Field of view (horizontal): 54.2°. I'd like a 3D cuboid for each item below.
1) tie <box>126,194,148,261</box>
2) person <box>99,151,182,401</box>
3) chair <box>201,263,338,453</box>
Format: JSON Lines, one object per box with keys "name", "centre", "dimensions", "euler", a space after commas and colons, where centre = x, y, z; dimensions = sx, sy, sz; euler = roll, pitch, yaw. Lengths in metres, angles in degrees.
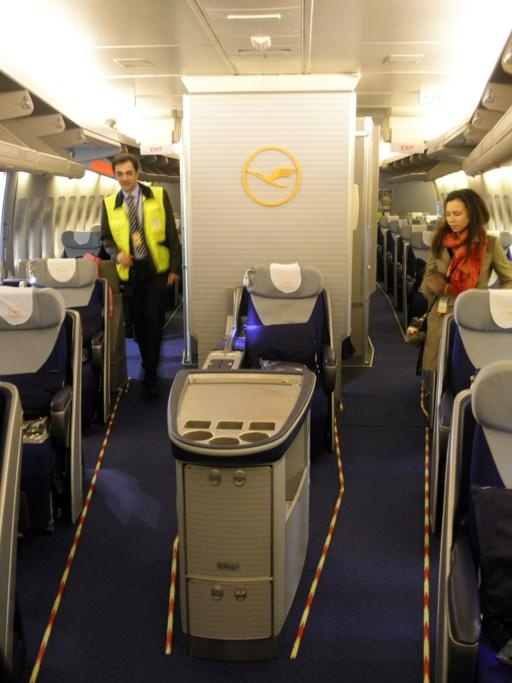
{"name": "tie", "centre": [-1.188, -1.131, 5.009], "dimensions": [0.185, 0.639, 0.040], "euler": [-1, 7, -2]}
{"name": "person", "centre": [-1.186, -0.690, 5.291], "dimensions": [0.698, 2.549, 0.734], "euler": [-8, 33, -15]}
{"name": "chair", "centre": [0.177, 0.150, 3.878], "dimensions": [0.844, 1.450, 1.062], "euler": [0, 8, 7]}
